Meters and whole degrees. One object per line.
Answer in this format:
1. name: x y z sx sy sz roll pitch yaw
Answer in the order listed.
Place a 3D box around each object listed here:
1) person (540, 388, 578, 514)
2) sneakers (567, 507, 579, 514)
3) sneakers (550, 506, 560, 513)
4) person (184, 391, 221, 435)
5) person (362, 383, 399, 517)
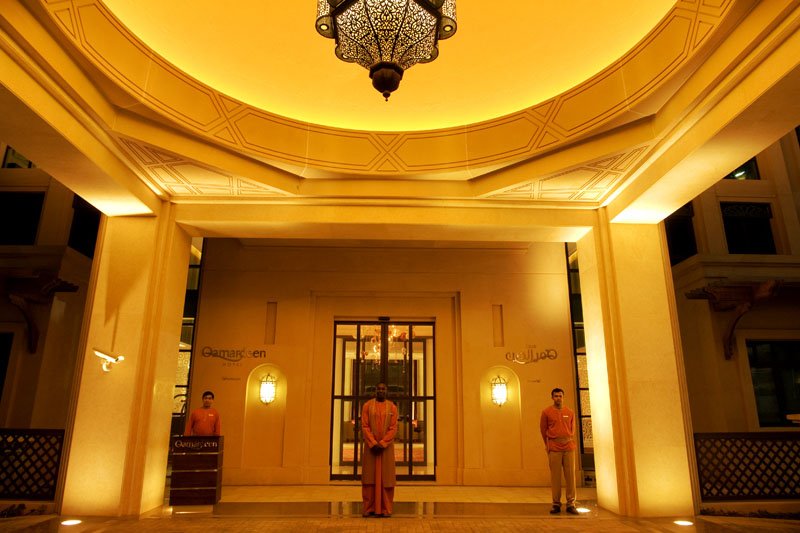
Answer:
1. person: 2.720 3.118 9.400 0.536 1.987 0.659 -7 -24 16
2. sneakers: 2.841 3.997 9.078 0.173 0.115 0.157 -4 -23 11
3. sneakers: 2.573 4.016 9.141 0.151 0.128 0.194 -6 -23 14
4. person: -3.602 2.731 10.207 0.511 0.782 0.429 -14 -27 30
5. person: -0.349 3.006 9.115 0.596 2.056 0.436 1 -23 -3
